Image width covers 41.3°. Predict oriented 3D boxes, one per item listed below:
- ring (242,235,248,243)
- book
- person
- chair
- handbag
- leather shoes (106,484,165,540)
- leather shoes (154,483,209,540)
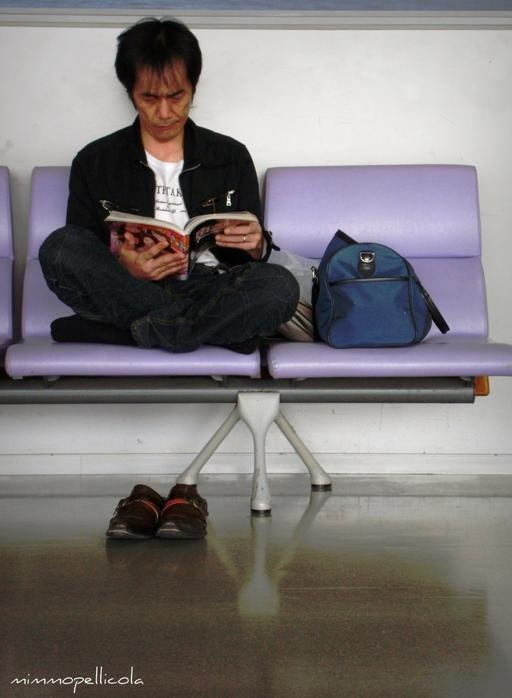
[{"bbox_3d":[-0.028,-0.255,1.576,0.013,0.015,0.004,-1,20,-24],"label":"ring"},{"bbox_3d":[-0.108,-0.265,1.550,0.261,0.139,0.071,8,43,19],"label":"book"},{"bbox_3d":[-0.216,-0.399,1.698,0.674,0.720,0.608,17,26,34],"label":"person"},{"bbox_3d":[-0.036,-0.028,1.770,1.110,0.622,0.459,-1,6,-2],"label":"chair"},{"bbox_3d":[0.332,-0.165,1.609,0.384,0.300,0.238,-1,12,27],"label":"handbag"},{"bbox_3d":[-0.245,0.338,1.434,0.094,0.090,0.246,0,0,10],"label":"leather shoes"},{"bbox_3d":[-0.157,0.338,1.405,0.099,0.091,0.146,0,0,-8],"label":"leather shoes"}]
